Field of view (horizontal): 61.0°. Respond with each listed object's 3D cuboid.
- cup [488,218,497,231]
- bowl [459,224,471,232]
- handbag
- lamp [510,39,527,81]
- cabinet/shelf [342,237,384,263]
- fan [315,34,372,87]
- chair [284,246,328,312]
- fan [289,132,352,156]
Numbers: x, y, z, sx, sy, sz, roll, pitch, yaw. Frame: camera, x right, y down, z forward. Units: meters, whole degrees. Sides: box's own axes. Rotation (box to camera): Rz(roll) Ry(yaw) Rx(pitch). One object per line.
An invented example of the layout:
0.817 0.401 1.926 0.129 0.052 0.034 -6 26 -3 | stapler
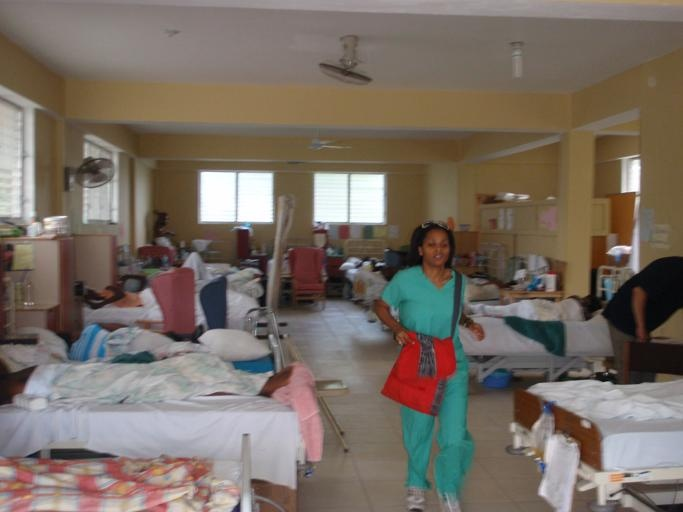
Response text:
2.683 -0.560 10.272 0.194 0.161 0.170 1 -3 1 | cup
2.327 -0.521 10.893 0.176 0.080 0.160 -1 0 -1 | bowl
0.534 0.716 3.683 0.537 0.482 0.224 27 14 10 | handbag
1.848 -2.037 6.038 0.261 0.384 0.236 1 26 15 | lamp
0.440 -0.124 13.118 0.675 0.514 0.234 1 7 -5 | cabinet/shelf
0.062 -1.931 5.699 0.599 0.405 0.194 19 41 14 | fan
-0.623 0.378 10.221 0.802 0.971 0.683 -1 3 -18 | chair
-0.297 -2.242 11.604 0.997 0.306 0.335 -3 7 -28 | fan
